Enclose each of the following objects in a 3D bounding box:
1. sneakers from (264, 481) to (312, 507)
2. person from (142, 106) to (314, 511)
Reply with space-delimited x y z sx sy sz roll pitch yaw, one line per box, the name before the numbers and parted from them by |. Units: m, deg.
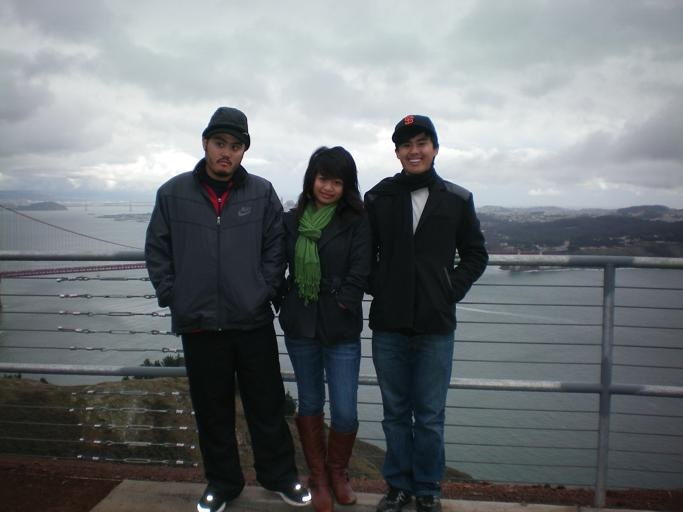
sneakers | -0.417 1.681 4.181 0.367 0.160 0.147 1 -4 30
person | -0.809 0.386 4.138 1.137 2.854 0.318 2 4 -5
